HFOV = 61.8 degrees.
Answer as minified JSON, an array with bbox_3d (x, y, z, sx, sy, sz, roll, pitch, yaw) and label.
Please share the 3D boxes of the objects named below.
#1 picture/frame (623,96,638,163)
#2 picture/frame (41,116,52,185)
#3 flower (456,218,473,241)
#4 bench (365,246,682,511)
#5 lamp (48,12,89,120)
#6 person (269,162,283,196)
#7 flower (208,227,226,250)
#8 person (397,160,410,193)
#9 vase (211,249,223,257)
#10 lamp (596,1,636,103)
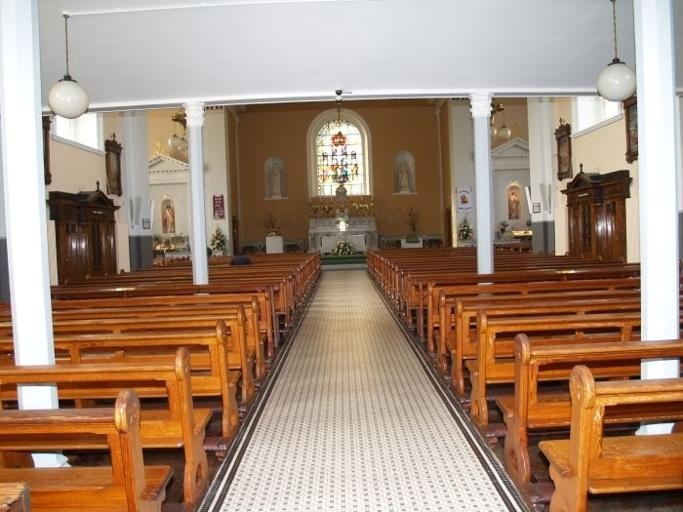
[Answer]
[{"bbox_3d":[5.571,-2.411,11.033,0.236,1.217,0.752,1,7,25],"label":"picture/frame"},{"bbox_3d":[-5.512,-1.956,10.735,0.146,1.233,1.108,-4,7,-26],"label":"picture/frame"},{"bbox_3d":[4.910,-1.020,22.743,0.638,1.023,0.686,2,1,4],"label":"flower"},{"bbox_3d":[1.556,0.751,5.632,1.605,0.834,3.498,-1,7,-1],"label":"bench"},{"bbox_3d":[-3.521,-2.412,7.315,0.430,1.261,0.773,-4,7,-27],"label":"lamp"},{"bbox_3d":[-2.998,-3.565,26.503,0.653,1.794,0.416,-2,6,-8],"label":"person"},{"bbox_3d":[-4.918,-0.679,22.773,0.621,0.894,0.615,-3,6,-15],"label":"flower"},{"bbox_3d":[2.927,-3.633,26.442,0.580,1.451,0.463,-1,6,3],"label":"person"},{"bbox_3d":[-4.928,-0.176,22.806,0.517,0.442,0.312,0,-9,-2],"label":"vase"},{"bbox_3d":[3.493,-2.607,7.241,0.412,1.238,0.826,2,7,28],"label":"lamp"}]
